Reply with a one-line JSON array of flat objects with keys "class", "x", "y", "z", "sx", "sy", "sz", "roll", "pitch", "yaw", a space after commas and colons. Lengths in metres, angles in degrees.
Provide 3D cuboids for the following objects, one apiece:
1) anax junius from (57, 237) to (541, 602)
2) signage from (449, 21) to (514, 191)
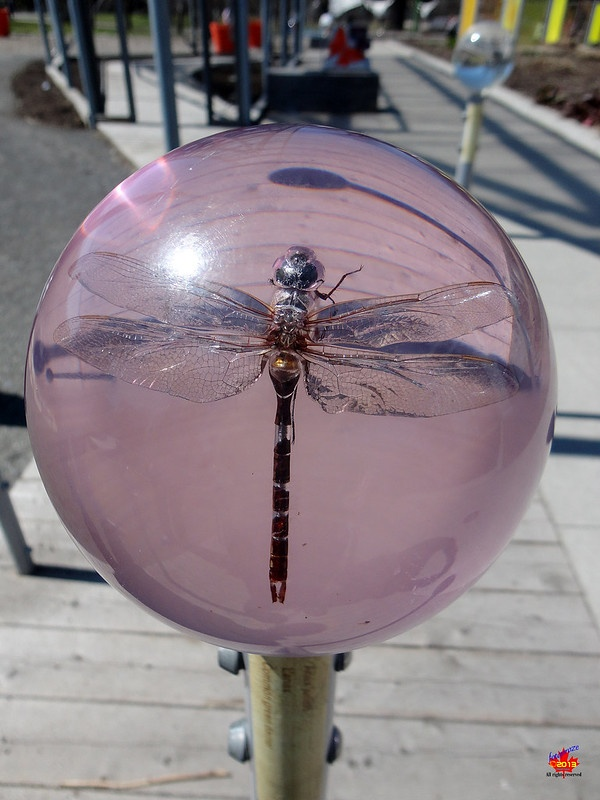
[{"class": "anax junius", "x": -0.020, "y": -0.012, "z": 1.063, "sx": 0.562, "sy": 0.351, "sz": 0.099, "roll": 8, "pitch": 33, "yaw": 6}, {"class": "signage", "x": 0.824, "y": -1.290, "z": 3.966, "sx": 0.226, "sy": 0.632, "sz": 0.213, "roll": 12, "pitch": 21, "yaw": 29}]
